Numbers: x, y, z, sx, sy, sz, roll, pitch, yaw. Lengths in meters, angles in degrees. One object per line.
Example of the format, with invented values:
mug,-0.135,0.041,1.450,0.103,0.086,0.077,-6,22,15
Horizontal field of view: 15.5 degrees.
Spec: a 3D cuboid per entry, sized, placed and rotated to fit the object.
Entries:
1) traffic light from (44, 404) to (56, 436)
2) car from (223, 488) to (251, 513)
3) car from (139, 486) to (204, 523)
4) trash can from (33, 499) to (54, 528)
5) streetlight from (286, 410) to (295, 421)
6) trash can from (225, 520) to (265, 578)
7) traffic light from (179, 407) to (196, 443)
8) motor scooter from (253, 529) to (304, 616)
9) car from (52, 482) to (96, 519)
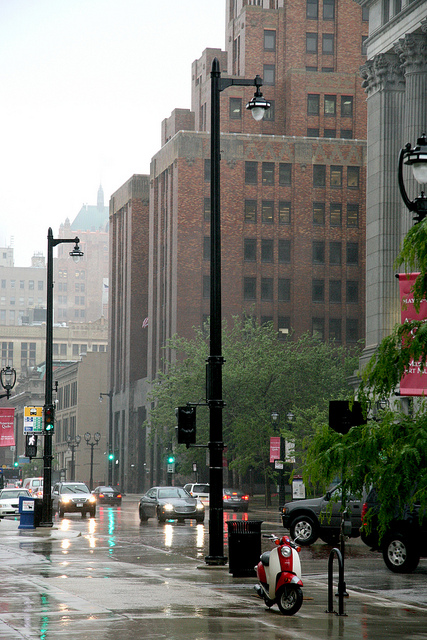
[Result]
traffic light,-4.515,2.642,42.632,0.277,0.876,1.043,0,-8,-8
car,0.790,7.157,62.994,0.704,0.682,1.836,1,-2,-6
car,-1.437,5.879,50.909,0.878,0.809,2.191,2,-12,-15
trash can,-4.801,5.221,42.799,0.444,1.031,0.498,-3,-6,28
streetlight,2.825,3.433,58.126,0.261,0.363,0.300,1,-13,1
trash can,0.574,3.815,26.194,0.706,1.184,0.833,0,-3,-7
traffic light,-0.471,1.757,26.883,0.378,0.590,0.196,4,-8,-34
motor scooter,0.909,3.533,22.226,0.407,1.192,1.557,6,-8,-17
car,-5.147,6.471,57.011,1.481,1.402,3.020,0,-9,-8
